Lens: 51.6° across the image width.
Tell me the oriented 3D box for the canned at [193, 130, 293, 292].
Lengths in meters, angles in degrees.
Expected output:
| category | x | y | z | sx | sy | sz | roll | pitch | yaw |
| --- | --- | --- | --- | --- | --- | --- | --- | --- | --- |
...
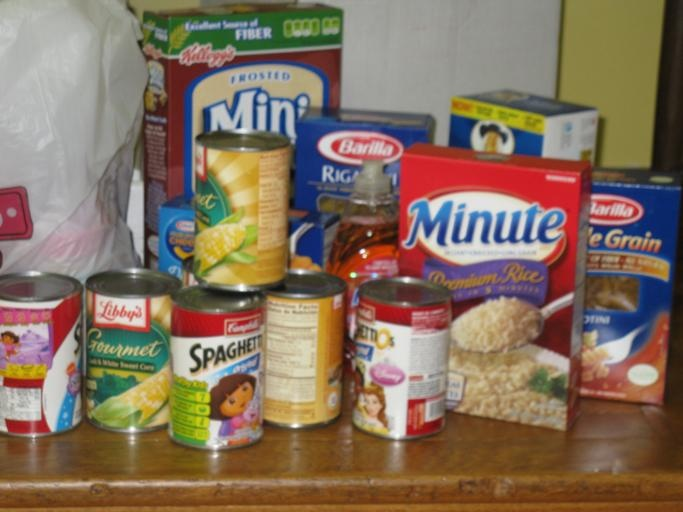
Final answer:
| category | x | y | z | sx | sy | sz | roll | pitch | yaw |
| --- | --- | --- | --- | --- | --- | --- | --- | --- | --- |
| canned | -0.127 | -0.052 | 0.911 | 0.123 | 0.184 | 0.057 | -2 | 13 | -11 |
